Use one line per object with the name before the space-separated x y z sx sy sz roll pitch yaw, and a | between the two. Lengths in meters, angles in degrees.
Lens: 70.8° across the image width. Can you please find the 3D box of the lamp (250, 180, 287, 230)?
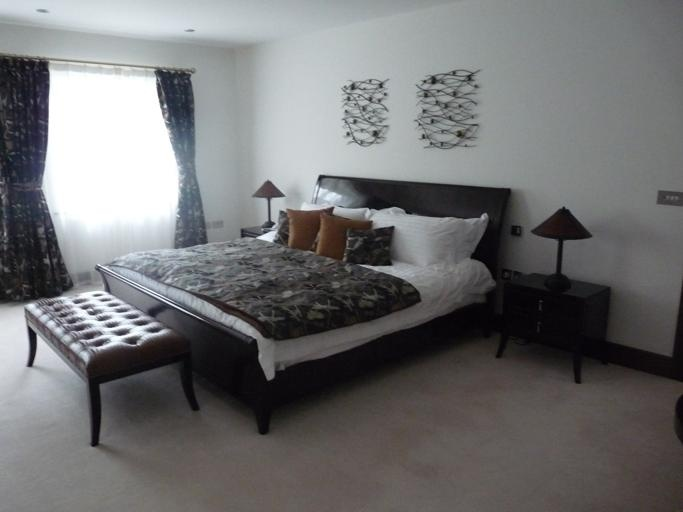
lamp | -0.924 -0.655 6.133 0.419 0.579 0.414 0 6 8

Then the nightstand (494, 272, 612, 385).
nightstand | 1.746 0.387 4.089 0.741 0.930 0.969 -7 13 -40

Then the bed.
bed | -0.059 0.467 4.215 2.567 1.419 2.464 -9 18 -38

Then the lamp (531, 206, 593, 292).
lamp | 1.779 -0.066 3.831 0.428 0.623 0.352 -13 18 -33
